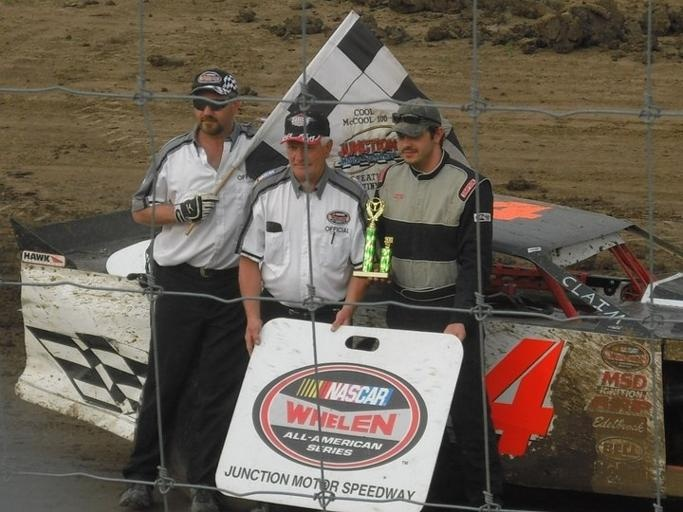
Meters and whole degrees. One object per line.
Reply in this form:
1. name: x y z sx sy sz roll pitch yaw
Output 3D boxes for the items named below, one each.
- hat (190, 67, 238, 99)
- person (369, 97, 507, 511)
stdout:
1. hat: -0.974 -1.318 10.162 0.340 0.201 0.212 1 11 -8
2. person: 0.741 0.338 10.021 1.170 2.992 0.510 10 13 32
